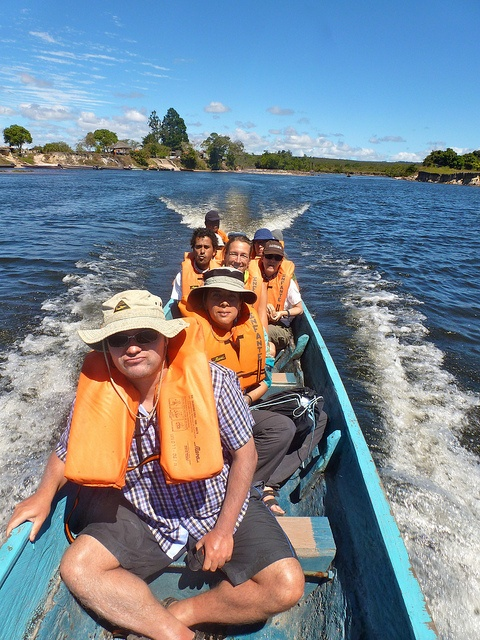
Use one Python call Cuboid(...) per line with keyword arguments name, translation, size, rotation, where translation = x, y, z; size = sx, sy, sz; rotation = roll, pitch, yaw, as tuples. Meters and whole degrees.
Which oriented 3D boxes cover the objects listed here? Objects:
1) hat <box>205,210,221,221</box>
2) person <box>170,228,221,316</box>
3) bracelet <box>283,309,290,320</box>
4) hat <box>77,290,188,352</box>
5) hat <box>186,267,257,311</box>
Cuboid(name="hat", translation=(-0.375, -1.456, 5.801), size=(0.146, 0.123, 0.210), rotation=(-3, 16, -11))
Cuboid(name="person", translation=(-0.440, -0.430, 4.830), size=(0.739, 1.222, 0.459), rotation=(4, 31, -2))
Cuboid(name="bracelet", translation=(0.540, -0.058, 4.717), size=(0.083, 0.036, 0.098), rotation=(3, 18, -3))
Cuboid(name="hat", translation=(-0.539, -0.018, 1.981), size=(0.485, 0.217, 0.530), rotation=(-12, -3, -7))
Cuboid(name="hat", translation=(-0.094, -0.182, 2.685), size=(0.300, 0.319, 0.165), rotation=(-1, 62, 9))
